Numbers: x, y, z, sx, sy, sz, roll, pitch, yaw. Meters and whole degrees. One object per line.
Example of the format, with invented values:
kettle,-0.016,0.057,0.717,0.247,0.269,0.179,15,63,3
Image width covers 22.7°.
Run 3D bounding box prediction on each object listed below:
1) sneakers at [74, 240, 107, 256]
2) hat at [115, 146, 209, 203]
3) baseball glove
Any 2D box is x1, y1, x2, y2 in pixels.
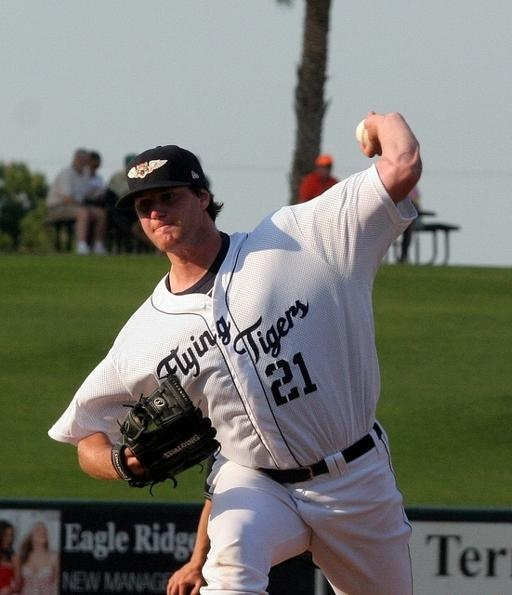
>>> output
sneakers,-1.318,-0.393,10.138,0.099,0.116,0.294,-4,-10,36
hat,-0.294,-0.413,4.185,0.180,0.134,0.246,-8,2,30
baseball glove,-0.278,0.444,4.194,0.388,0.283,0.187,-33,4,28
